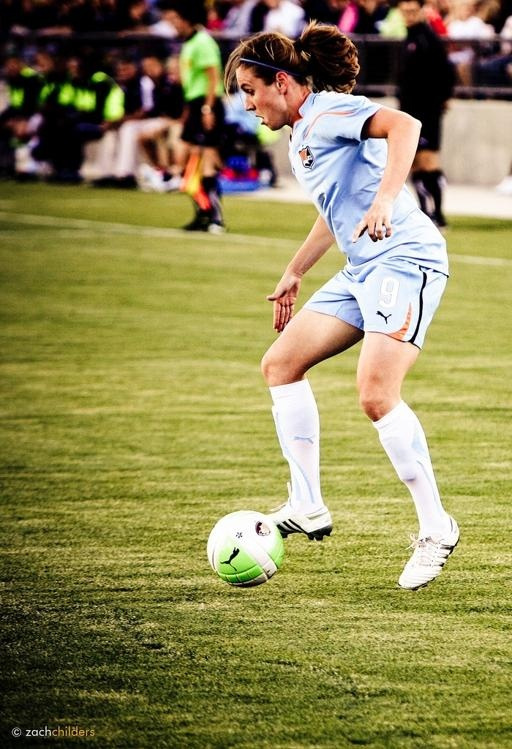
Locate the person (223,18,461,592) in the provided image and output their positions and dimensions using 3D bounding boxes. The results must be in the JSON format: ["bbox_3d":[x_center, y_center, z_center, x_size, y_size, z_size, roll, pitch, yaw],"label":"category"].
[{"bbox_3d":[0.247,-0.196,2.574,0.512,1.429,0.751,-7,17,-25],"label":"person"}]

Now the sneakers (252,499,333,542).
[{"bbox_3d":[0.121,0.423,2.798,0.235,0.100,0.075,8,13,5],"label":"sneakers"}]

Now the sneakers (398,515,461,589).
[{"bbox_3d":[0.452,0.475,2.532,0.081,0.088,0.219,15,52,43],"label":"sneakers"}]

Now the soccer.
[{"bbox_3d":[0.017,0.456,2.543,0.155,0.139,0.159,6,26,40],"label":"soccer"}]
